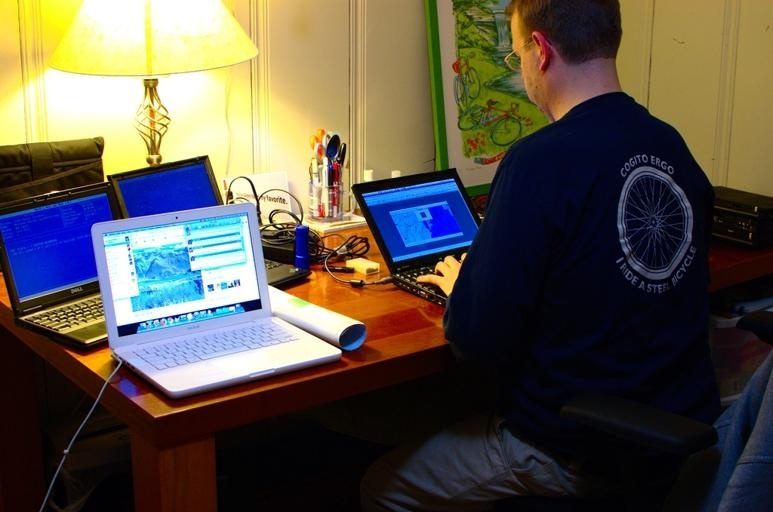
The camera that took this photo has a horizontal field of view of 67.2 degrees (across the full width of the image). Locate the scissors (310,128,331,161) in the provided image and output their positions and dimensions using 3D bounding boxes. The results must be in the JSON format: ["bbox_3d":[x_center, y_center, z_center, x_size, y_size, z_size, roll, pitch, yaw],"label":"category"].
[{"bbox_3d":[-0.251,-0.427,2.214,0.095,0.104,0.056,-3,18,19],"label":"scissors"}]

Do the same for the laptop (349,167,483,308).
[{"bbox_3d":[0.076,-0.028,2.011,0.472,0.287,0.416,-17,34,-34],"label":"laptop"}]

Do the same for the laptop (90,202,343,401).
[{"bbox_3d":[-0.417,0.094,1.359,0.458,0.392,0.330,-17,19,-26],"label":"laptop"}]
